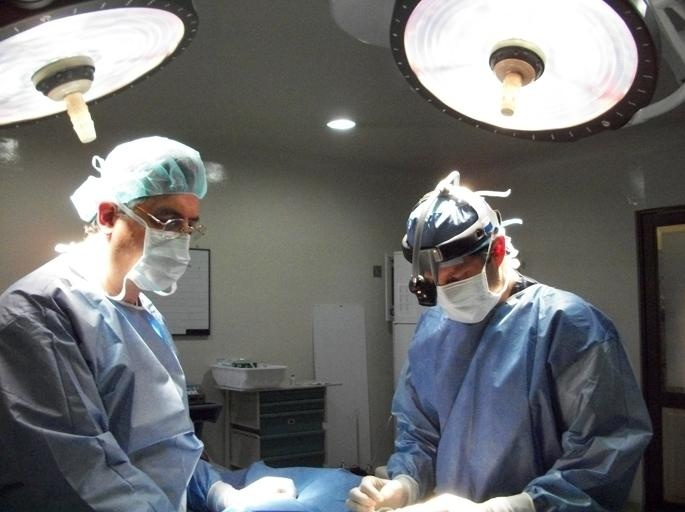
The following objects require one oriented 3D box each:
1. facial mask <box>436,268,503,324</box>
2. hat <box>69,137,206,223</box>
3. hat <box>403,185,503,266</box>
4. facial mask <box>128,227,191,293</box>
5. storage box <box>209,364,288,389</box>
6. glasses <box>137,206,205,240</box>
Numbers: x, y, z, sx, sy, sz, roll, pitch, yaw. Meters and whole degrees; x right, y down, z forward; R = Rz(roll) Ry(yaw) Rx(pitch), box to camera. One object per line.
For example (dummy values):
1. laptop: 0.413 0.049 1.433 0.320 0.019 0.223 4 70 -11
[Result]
1. facial mask: 0.363 0.129 1.830 0.140 0.109 0.173 -15 18 49
2. hat: -0.571 -0.201 1.795 0.283 0.157 0.256 -16 33 -1
3. hat: 0.312 -0.064 1.802 0.202 0.188 0.188 -13 -8 -39
4. facial mask: -0.496 0.015 1.762 0.161 0.112 0.151 1 -5 11
5. storage box: -0.666 0.828 4.203 0.252 0.105 0.289 11 -21 -33
6. glasses: -0.485 -0.093 1.745 0.112 0.039 0.113 21 -1 27
